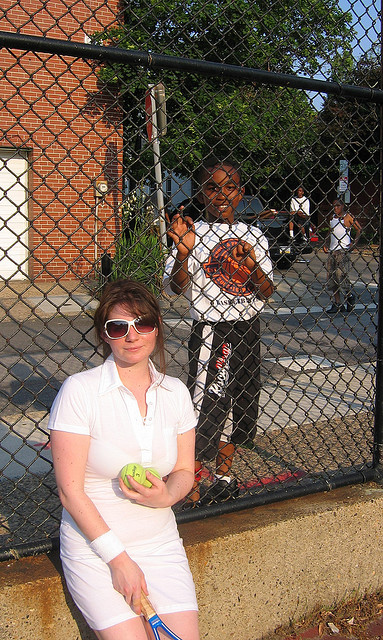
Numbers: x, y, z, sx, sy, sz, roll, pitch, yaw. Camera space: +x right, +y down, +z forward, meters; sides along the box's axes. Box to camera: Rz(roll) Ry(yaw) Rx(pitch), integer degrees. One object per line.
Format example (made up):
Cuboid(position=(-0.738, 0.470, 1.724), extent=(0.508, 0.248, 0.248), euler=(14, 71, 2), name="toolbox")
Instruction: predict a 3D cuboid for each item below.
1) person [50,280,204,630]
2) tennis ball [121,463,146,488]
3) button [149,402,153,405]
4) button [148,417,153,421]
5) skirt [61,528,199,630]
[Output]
Cuboid(position=(-0.212, 0.410, 2.041), extent=(0.461, 1.048, 0.563), euler=(0, 10, -2), name="person")
Cuboid(position=(-0.184, 0.477, 1.951), extent=(0.067, 0.039, 0.070), euler=(3, 37, -2), name="tennis ball")
Cuboid(position=(-0.135, 0.278, 2.093), extent=(0.009, 0.008, 0.002), euler=(0, -19, -21), name="button")
Cuboid(position=(-0.134, 0.328, 2.069), extent=(0.014, 0.013, 0.003), euler=(-1, -4, -22), name="button")
Cuboid(position=(-0.181, 0.827, 1.980), extent=(0.398, 0.207, 0.239), euler=(-3, 10, -22), name="skirt")
